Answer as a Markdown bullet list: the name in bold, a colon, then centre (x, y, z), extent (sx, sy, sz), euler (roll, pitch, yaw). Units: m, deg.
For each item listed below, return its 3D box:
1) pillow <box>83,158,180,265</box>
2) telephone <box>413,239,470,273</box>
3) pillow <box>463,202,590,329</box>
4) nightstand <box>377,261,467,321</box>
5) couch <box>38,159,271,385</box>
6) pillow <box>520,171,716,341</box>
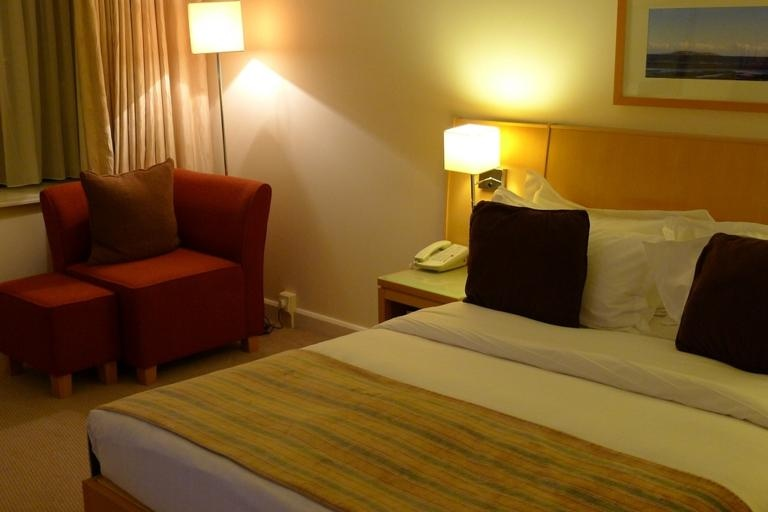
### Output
- **pillow**: centre (-1.777, -0.287, 4.073), extent (0.673, 0.670, 0.253), euler (-15, 14, -39)
- **telephone**: centre (0.382, -0.009, 3.695), extent (0.257, 0.103, 0.197), euler (-18, 21, -41)
- **pillow**: centre (0.739, 0.065, 2.939), extent (0.520, 0.458, 0.204), euler (10, 19, 34)
- **nightstand**: centre (0.280, 0.171, 3.553), extent (0.383, 0.422, 0.397), euler (17, 27, 40)
- **couch**: centre (-1.634, 0.009, 4.581), extent (1.483, 1.640, 1.492), euler (12, 18, 41)
- **pillow**: centre (1.188, 0.025, 2.871), extent (0.647, 0.750, 0.218), euler (5, -10, 14)
